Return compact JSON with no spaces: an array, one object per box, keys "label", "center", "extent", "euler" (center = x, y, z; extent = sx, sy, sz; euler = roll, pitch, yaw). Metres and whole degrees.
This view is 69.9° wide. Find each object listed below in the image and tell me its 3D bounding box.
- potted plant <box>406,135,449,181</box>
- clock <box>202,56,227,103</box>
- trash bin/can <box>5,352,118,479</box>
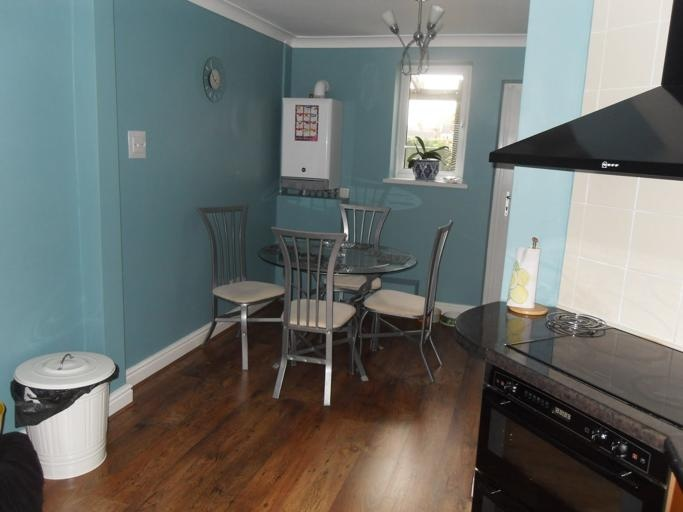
[{"label":"potted plant","center":[0.823,-0.962,4.993],"extent":[0.465,0.468,0.411],"euler":[8,14,36]},{"label":"clock","center":[-1.016,-1.424,3.928],"extent":[0.028,0.315,0.301],"euler":[14,24,20]},{"label":"trash bin/can","center":[-1.379,0.782,2.721],"extent":[0.552,0.647,0.616],"euler":[1,10,-3]}]
